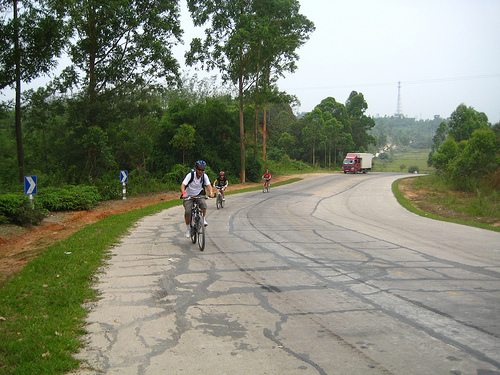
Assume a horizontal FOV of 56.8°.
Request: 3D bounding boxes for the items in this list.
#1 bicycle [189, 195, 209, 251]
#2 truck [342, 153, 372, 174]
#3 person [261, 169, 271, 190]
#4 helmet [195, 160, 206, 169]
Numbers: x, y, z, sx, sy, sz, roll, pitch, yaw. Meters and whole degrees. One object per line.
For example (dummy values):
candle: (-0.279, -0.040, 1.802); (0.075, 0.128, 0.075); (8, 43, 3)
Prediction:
bicycle: (-1.626, 1.042, 13.920); (0.353, 1.538, 1.457); (-3, 9, -19)
truck: (14.491, -3.420, 64.861); (2.124, 2.995, 6.029); (-1, 0, 41)
person: (1.200, -0.517, 35.096); (0.822, 1.008, 1.600); (2, 3, 1)
helmet: (-1.471, -0.725, 13.651); (0.245, 0.340, 0.220); (13, -38, -3)
